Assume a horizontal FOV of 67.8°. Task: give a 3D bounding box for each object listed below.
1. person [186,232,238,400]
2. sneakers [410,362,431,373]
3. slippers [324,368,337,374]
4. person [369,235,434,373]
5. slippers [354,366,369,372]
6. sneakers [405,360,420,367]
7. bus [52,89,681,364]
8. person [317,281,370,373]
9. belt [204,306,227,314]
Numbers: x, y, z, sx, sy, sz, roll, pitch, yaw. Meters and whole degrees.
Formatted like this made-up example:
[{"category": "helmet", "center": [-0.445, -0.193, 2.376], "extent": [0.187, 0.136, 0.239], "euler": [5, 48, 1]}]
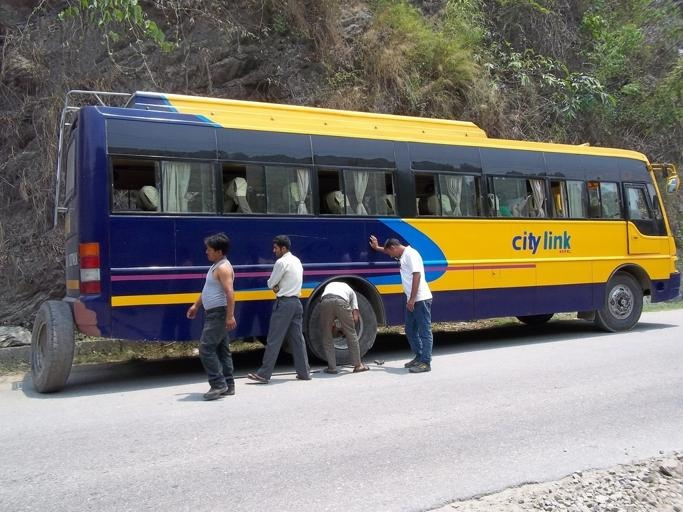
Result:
[{"category": "person", "center": [-1.789, 0.861, 7.241], "extent": [0.501, 1.827, 0.380], "euler": [-3, 2, -17]}, {"category": "sneakers", "center": [1.334, 1.886, 8.560], "extent": [0.298, 0.124, 0.145], "euler": [4, -7, -22]}, {"category": "slippers", "center": [-0.190, 1.968, 8.735], "extent": [0.095, 0.118, 0.281], "euler": [5, -9, -35]}, {"category": "person", "center": [1.205, 0.826, 8.743], "extent": [0.653, 2.267, 0.517], "euler": [-2, 2, 11]}, {"category": "slippers", "center": [0.348, 1.932, 8.731], "extent": [0.264, 0.107, 0.101], "euler": [-4, 4, -41]}, {"category": "sneakers", "center": [1.224, 1.847, 8.736], "extent": [0.260, 0.108, 0.095], "euler": [2, -3, -11]}, {"category": "bus", "center": [1.694, -0.885, 12.571], "extent": [14.803, 5.461, 5.160], "euler": [-2, -1, -26]}, {"category": "person", "center": [0.015, 1.227, 8.631], "extent": [0.718, 1.563, 0.298], "euler": [-3, 2, -2]}, {"category": "belt", "center": [-1.779, 0.751, 7.206], "extent": [0.286, 0.081, 0.073], "euler": [-3, 2, -5]}]
